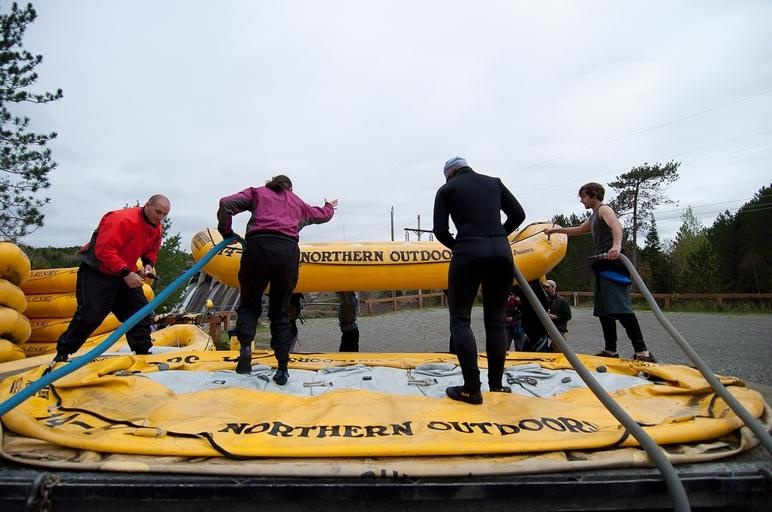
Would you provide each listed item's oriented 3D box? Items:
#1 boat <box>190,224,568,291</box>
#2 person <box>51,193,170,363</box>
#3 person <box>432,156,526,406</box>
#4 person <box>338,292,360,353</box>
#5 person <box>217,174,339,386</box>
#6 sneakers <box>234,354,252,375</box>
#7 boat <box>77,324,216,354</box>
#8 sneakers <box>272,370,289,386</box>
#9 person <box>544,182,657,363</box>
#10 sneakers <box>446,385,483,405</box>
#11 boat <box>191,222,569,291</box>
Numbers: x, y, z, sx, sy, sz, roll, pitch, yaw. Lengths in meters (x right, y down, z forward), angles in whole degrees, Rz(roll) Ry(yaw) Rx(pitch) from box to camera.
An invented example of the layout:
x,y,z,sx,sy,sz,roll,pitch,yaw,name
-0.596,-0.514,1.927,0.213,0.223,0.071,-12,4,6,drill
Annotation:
x,y,z,sx,sy,sz,roll,pitch,yaw,name
0.017,0.069,7.016,4.376,0.673,1.923,-1,-1,-5,boat
-2.999,0.199,5.332,0.968,1.759,0.589,3,-3,-31,person
0.851,0.141,4.355,0.814,2.186,0.726,2,-3,-7,person
-0.574,1.007,7.570,0.290,0.983,0.747,2,-2,-5,person
-1.239,0.162,5.122,1.047,2.138,0.849,2,-3,-17,person
-1.470,1.057,5.014,0.144,0.240,0.152,2,-2,-11,sneakers
-2.976,1.148,6.790,0.814,0.269,0.957,1,1,1,boat
-1.038,1.178,4.797,0.074,0.071,0.190,1,12,-9,sneakers
2.648,0.172,5.900,1.061,2.184,1.421,0,-3,27,person
0.687,1.170,4.235,0.117,0.115,0.314,0,6,-43,sneakers
-0.002,0.084,7.235,4.371,0.678,1.928,-1,-1,-5,boat
